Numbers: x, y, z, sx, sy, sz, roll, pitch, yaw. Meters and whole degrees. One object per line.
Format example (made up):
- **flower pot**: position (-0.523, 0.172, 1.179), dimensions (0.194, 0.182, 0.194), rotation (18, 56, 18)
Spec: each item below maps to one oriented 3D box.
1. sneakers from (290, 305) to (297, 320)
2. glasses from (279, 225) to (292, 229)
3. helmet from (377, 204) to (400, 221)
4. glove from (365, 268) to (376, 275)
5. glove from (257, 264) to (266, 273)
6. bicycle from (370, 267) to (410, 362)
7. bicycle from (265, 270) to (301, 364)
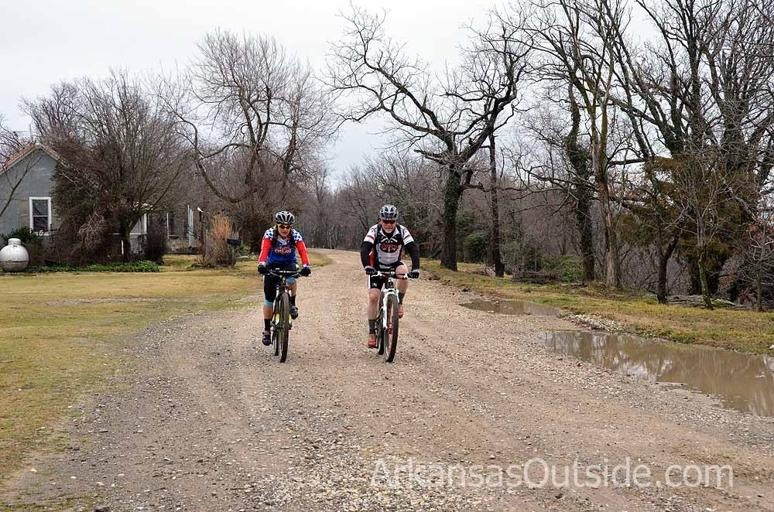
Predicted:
- **sneakers**: position (-2.169, 1.316, 15.835), dimensions (0.191, 0.290, 0.092), rotation (-3, 3, 2)
- **glasses**: position (-2.303, -0.669, 15.602), dimensions (0.166, 0.108, 0.357), rotation (4, 6, 31)
- **helmet**: position (0.041, -0.998, 15.731), dimensions (0.365, 0.296, 0.568), rotation (2, 7, -3)
- **glove**: position (-0.379, 0.341, 15.700), dimensions (0.211, 0.189, 0.299), rotation (3, 5, 22)
- **glove**: position (-2.839, 0.296, 15.323), dimensions (0.142, 0.199, 0.185), rotation (1, 42, -4)
- **bicycle**: position (0.019, 1.365, 15.813), dimensions (0.785, 2.067, 1.271), rotation (0, 5, -9)
- **bicycle**: position (-2.474, 1.329, 15.768), dimensions (0.670, 2.085, 1.324), rotation (0, 5, -13)
